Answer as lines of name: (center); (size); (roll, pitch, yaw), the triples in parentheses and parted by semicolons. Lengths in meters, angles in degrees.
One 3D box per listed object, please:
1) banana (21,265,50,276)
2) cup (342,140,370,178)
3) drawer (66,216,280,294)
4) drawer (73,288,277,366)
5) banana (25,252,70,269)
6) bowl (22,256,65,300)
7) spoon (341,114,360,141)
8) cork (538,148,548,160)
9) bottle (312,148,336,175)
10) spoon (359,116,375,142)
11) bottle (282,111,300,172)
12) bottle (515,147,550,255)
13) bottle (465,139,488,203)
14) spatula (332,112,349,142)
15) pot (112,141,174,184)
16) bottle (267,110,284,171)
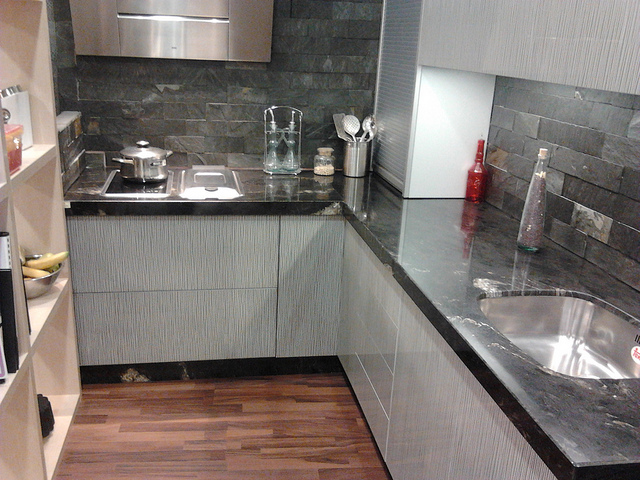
banana: (-0.876, 0.097, 1.484); (0.067, 0.034, 0.079); (-9, 21, -28)
cup: (0.211, -0.499, 2.964); (0.180, 0.203, 0.179); (2, 18, -1)
drawer: (-0.800, 0.210, 2.644); (1.015, 0.528, 0.442); (1, 61, -28)
drawer: (-0.780, 0.445, 2.549); (0.884, 0.391, 0.445); (-1, 11, -10)
banana: (-0.872, 0.064, 1.529); (0.093, 0.021, 0.031); (-16, 65, -9)
bowl: (-0.869, 0.109, 1.514); (0.132, 0.068, 0.131); (2, 6, 0)
spoon: (0.186, -0.687, 2.899); (0.071, 0.190, 0.030); (-9, -19, 7)
cork: (0.857, -0.329, 1.857); (0.024, 0.045, 0.110); (9, 20, 21)
bottle: (0.028, -0.470, 2.907); (0.150, 0.154, 0.148); (14, 18, 41)
spoon: (0.277, -0.672, 2.870); (0.055, 0.192, 0.031); (13, -4, 20)
bottle: (-0.171, -0.592, 2.924); (0.101, 0.343, 0.223); (3, 19, 6)
bottle: (0.867, -0.161, 1.933); (0.105, 0.410, 0.155); (9, 21, 23)
bottle: (0.828, -0.356, 2.531); (0.107, 0.323, 0.059); (6, 20, 16)
spatula: (0.118, -0.672, 2.948); (0.031, 0.173, 0.091); (-10, 2, 45)
pot: (-0.953, -0.423, 2.598); (0.333, 0.199, 0.298); (7, 25, 3)
bottle: (-0.270, -0.594, 2.899); (0.101, 0.342, 0.181); (-1, 19, -5)
